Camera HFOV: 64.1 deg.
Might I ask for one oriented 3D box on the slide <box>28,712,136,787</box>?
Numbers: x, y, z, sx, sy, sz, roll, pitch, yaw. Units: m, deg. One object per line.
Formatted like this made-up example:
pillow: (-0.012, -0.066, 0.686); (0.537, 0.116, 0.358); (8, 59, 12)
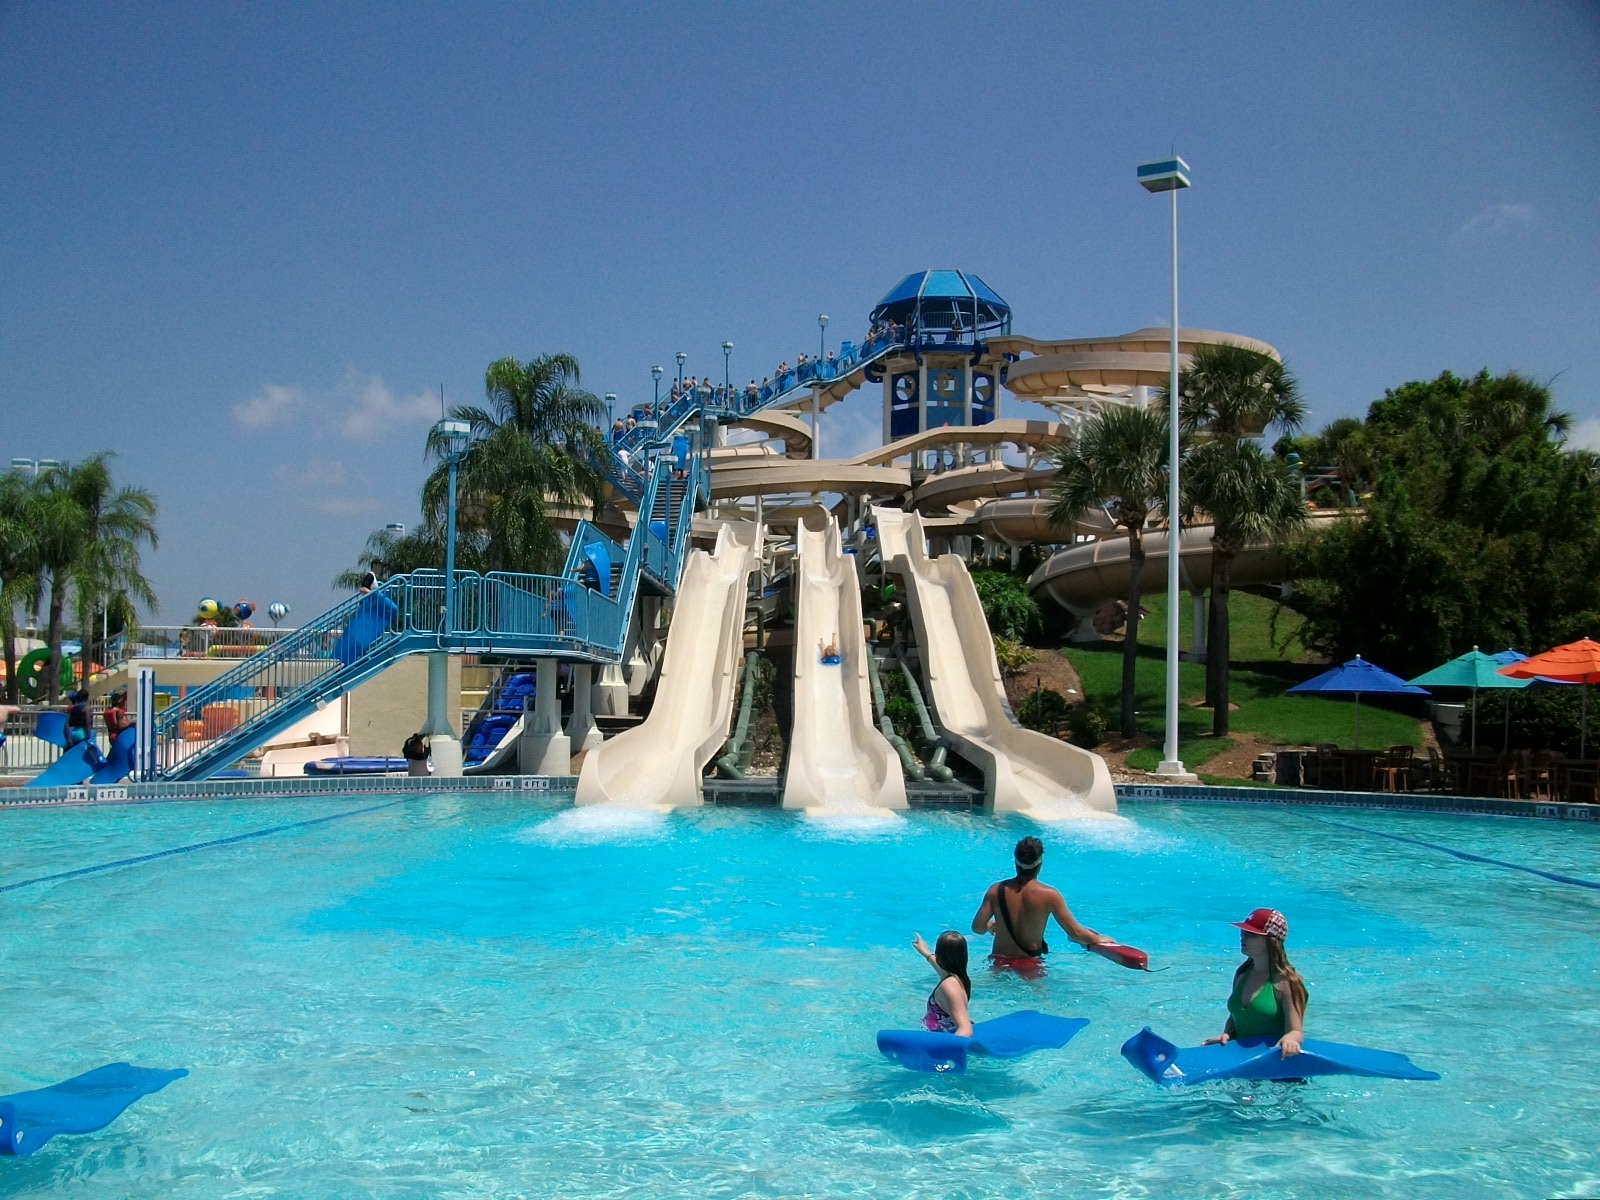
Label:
slide: (-10.188, 2.209, 18.307); (1.178, 0.790, 0.730); (-2, -5, 28)

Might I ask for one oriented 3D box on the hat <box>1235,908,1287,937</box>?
hat: (2.797, 1.935, 7.693); (0.286, 0.159, 0.213); (1, -7, 6)

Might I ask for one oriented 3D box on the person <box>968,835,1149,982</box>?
person: (1.845, 2.332, 9.615); (0.509, 1.059, 1.264); (3, -5, -32)

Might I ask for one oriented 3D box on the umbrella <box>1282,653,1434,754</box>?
umbrella: (11.522, 2.192, 26.118); (2.087, 1.589, 2.136); (1, 0, 24)

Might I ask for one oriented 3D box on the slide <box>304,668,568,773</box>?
slide: (-6.645, 2.167, 24.186); (4.948, 2.195, 10.190); (2, -5, -21)

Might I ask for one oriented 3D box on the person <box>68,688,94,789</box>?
person: (-10.961, 2.142, 19.515); (0.298, 0.973, 0.386); (-8, 4, -11)

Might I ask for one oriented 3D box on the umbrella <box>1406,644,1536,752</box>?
umbrella: (10.760, 1.652, 20.439); (1.624, 1.380, 1.618); (-2, 6, -1)

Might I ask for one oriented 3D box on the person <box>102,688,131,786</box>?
person: (-10.861, 2.200, 20.340); (0.281, 0.916, 0.354); (-3, -33, -17)

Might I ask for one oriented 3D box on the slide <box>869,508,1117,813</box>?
slide: (2.782, 1.408, 21.096); (1.440, 1.189, 8.286); (4, 26, -12)

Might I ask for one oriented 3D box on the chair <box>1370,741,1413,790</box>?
chair: (9.777, 2.782, 21.068); (0.565, 0.913, 0.638); (2, -2, 0)

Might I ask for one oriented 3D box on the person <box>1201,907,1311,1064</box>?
person: (2.802, 2.291, 7.812); (0.524, 0.843, 0.479); (-3, -6, 34)

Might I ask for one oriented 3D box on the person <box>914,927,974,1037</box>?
person: (0.990, 2.535, 8.628); (0.369, 0.691, 1.327); (0, -5, 7)

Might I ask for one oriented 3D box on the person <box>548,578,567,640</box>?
person: (-3.826, 0.105, 20.219); (0.188, 0.849, 0.364); (0, -5, 12)
